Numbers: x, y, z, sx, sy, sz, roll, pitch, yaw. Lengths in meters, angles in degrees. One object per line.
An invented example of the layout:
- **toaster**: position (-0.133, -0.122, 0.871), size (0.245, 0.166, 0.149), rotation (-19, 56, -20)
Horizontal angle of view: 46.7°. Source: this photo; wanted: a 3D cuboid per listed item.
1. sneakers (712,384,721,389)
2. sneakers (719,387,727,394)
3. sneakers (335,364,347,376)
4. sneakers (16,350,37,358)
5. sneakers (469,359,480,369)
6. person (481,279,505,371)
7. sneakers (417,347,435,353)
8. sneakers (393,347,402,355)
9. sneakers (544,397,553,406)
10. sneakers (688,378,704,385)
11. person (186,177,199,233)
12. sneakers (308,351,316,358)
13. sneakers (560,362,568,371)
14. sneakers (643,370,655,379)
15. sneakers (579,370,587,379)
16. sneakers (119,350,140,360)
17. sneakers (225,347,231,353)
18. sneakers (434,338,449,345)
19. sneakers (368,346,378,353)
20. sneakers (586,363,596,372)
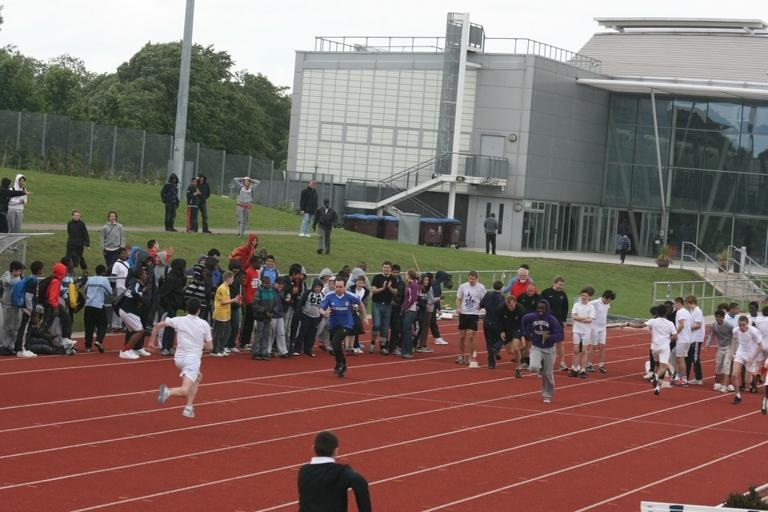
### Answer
- **sneakers**: position (8.868, 3.521, 23.638), size (0.135, 0.103, 0.155), rotation (4, 8, 39)
- **sneakers**: position (9.006, 3.567, 23.520), size (0.191, 0.127, 0.122), rotation (9, 11, 28)
- **sneakers**: position (-1.101, 2.906, 22.477), size (0.272, 0.326, 0.217), rotation (0, 10, -20)
- **sneakers**: position (-8.846, 2.453, 22.025), size (0.416, 0.153, 0.176), rotation (1, 0, 6)
- **sneakers**: position (2.507, 3.018, 24.579), size (0.344, 0.208, 0.187), rotation (-5, 13, -41)
- **person**: position (3.162, 1.861, 24.653), size (0.860, 2.398, 0.788), rotation (14, 24, 35)
- **sneakers**: position (1.275, 2.858, 26.718), size (0.454, 0.191, 0.180), rotation (-1, 4, -7)
- **sneakers**: position (0.391, 2.805, 25.865), size (0.189, 0.219, 0.559), rotation (0, -4, 3)
- **sneakers**: position (3.944, 3.482, 21.304), size (0.177, 0.171, 0.122), rotation (-2, 7, -17)
- **sneakers**: position (8.651, 3.521, 24.626), size (0.451, 0.179, 0.192), rotation (3, 0, -2)
- **person**: position (-7.512, -1.981, 34.777), size (0.451, 2.110, 0.864), rotation (2, 10, -12)
- **sneakers**: position (-2.017, 2.793, 24.946), size (0.130, 0.161, 0.404), rotation (-2, -4, -28)
- **sneakers**: position (5.136, 3.215, 25.407), size (0.127, 0.169, 0.375), rotation (-2, -5, -12)
- **sneakers**: position (7.289, 3.310, 24.432), size (0.248, 0.186, 0.448), rotation (2, 5, 1)
- **sneakers**: position (5.436, 3.259, 24.246), size (0.132, 0.150, 0.222), rotation (4, 12, 23)
- **sneakers**: position (-6.448, 2.535, 22.605), size (0.443, 0.180, 0.219), rotation (2, 6, 6)
- **sneakers**: position (-4.235, 2.592, 24.158), size (0.171, 0.231, 0.503), rotation (0, -2, -14)
- **sneakers**: position (1.797, 2.748, 28.170), size (0.386, 0.166, 0.191), rotation (2, 6, 10)
- **sneakers**: position (-0.345, 2.790, 26.333), size (0.137, 0.155, 0.226), rotation (2, 10, -1)
- **sneakers**: position (5.915, 3.229, 25.391), size (0.174, 0.228, 0.496), rotation (-1, -2, -8)
